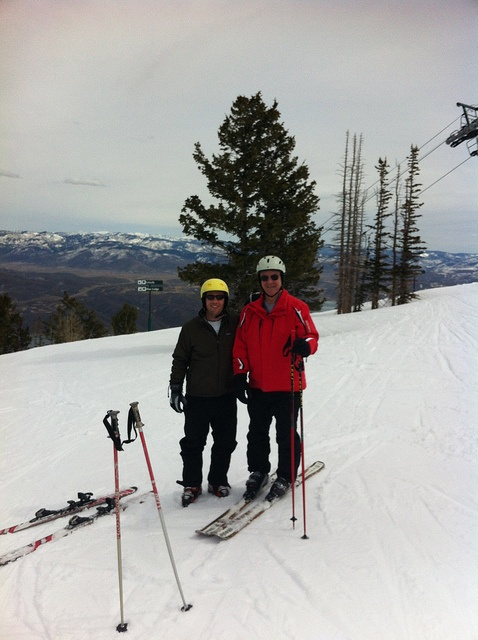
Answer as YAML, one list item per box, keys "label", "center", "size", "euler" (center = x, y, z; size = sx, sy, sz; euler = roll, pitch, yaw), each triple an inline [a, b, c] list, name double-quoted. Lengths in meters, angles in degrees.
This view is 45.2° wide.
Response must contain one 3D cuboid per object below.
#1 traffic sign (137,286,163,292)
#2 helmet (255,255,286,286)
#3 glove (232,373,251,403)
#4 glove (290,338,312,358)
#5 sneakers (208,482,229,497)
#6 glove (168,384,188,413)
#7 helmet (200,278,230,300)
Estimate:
- label: "traffic sign"
  center: [-3.683, -1.325, 23.951]
  size: [0.933, 0.286, 1.258]
  euler: [-5, 5, -3]
- label: "helmet"
  center: [0.332, -0.536, 5.999]
  size: [0.274, 0.287, 0.331]
  euler: [-5, 6, 3]
- label: "glove"
  center: [0.029, 0.711, 5.973]
  size: [0.218, 0.272, 0.124]
  euler: [14, -20, -41]
- label: "glove"
  center: [0.621, 0.280, 5.706]
  size: [0.194, 0.190, 0.246]
  euler: [-4, 6, 10]
- label: "sneakers"
  center: [-0.224, 1.892, 6.394]
  size: [0.094, 0.111, 0.252]
  euler: [6, -11, -30]
- label: "glove"
  center: [-0.637, 0.825, 6.011]
  size: [0.107, 0.274, 0.207]
  euler: [1, -6, 0]
- label: "helmet"
  center: [-0.253, -0.356, 6.069]
  size: [0.190, 0.186, 0.256]
  euler: [4, -26, -6]
